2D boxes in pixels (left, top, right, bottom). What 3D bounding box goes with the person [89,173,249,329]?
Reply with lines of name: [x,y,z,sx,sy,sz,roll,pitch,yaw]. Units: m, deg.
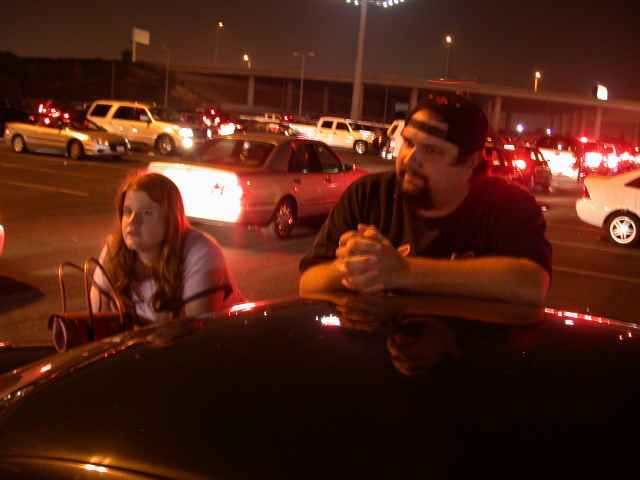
person: [-0.941,0.007,3.301,0.756,1.175,0.896,-2,-2,22]

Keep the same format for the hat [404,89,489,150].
hat: [0.543,-0.495,2.158,0.281,0.247,0.223,28,15,-6]

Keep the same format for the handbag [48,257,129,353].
handbag: [-1.175,0.356,2.630,0.157,0.545,0.471,-11,-12,25]

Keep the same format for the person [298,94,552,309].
person: [0.442,-0.162,2.156,0.986,0.969,0.925,9,2,45]
